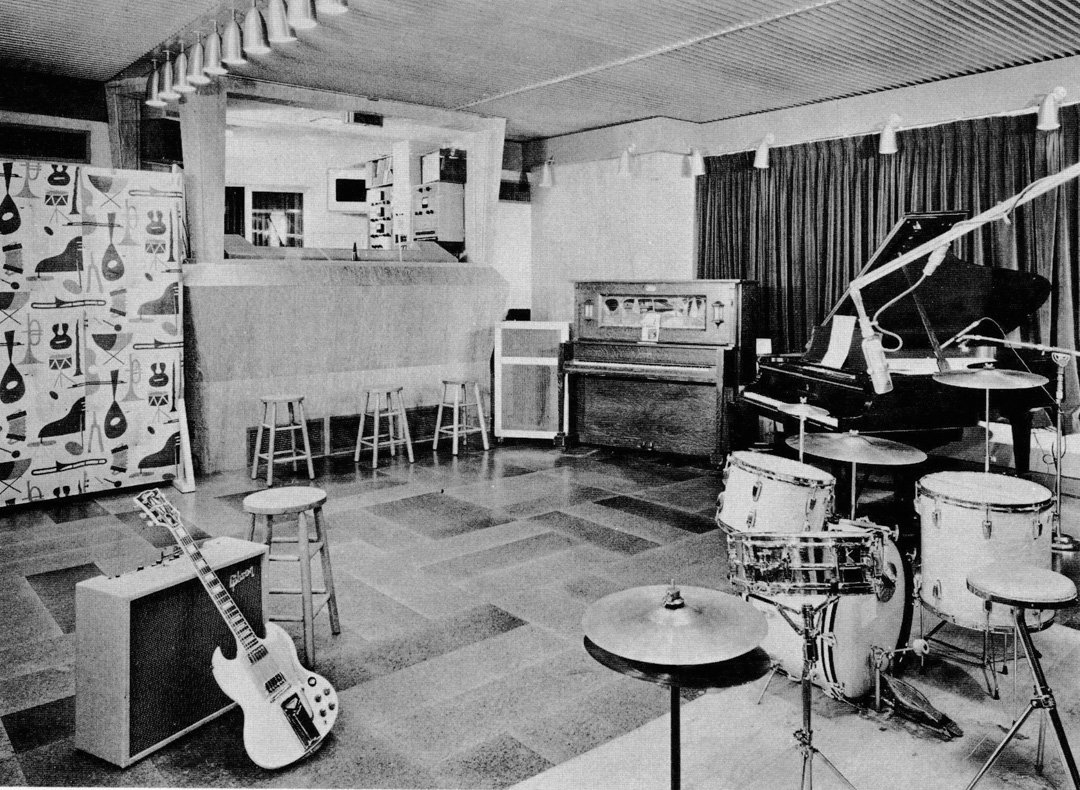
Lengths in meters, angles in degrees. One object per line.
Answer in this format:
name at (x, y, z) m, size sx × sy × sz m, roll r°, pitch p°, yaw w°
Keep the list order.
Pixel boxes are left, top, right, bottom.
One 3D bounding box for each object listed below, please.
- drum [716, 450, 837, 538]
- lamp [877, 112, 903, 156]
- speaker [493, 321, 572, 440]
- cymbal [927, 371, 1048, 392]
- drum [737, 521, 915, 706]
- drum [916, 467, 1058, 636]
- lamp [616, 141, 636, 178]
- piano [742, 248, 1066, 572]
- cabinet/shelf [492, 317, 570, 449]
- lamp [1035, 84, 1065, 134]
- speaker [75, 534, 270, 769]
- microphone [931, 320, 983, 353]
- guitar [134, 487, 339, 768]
drum at (1.195, 0.498, 4.242) m, size 0.443 × 0.277 × 0.446 m, roll 4°, pitch 2°, yaw 0°
lamp at (3.333, -2.489, 7.939) m, size 0.166 × 0.346 × 0.968 m, roll 5°, pitch 14°, yaw 22°
speaker at (-0.177, -0.191, 10.030) m, size 1.113 × 2.080 × 1.251 m, roll 1°, pitch 2°, yaw -4°
cymbal at (2.722, -0.096, 5.034) m, size 0.396 × 0.072 × 0.398 m, roll 4°, pitch 13°, yaw 31°
drum at (1.291, 0.975, 3.772) m, size 0.629 × 0.830 × 0.817 m, roll 7°, pitch 12°, yaw 39°
drum at (2.307, 0.757, 4.449) m, size 0.757 × 0.713 × 0.766 m, roll 0°, pitch 7°, yaw 5°
lamp at (1.037, -2.819, 9.920) m, size 0.197 × 0.199 × 0.548 m, roll 1°, pitch 20°, yaw 5°
piano at (3.139, -0.163, 7.244) m, size 2.587 × 2.629 × 1.840 m, roll -1°, pitch 0°, yaw -23°
cabinet/shelf at (-0.094, -0.177, 9.203) m, size 0.835 × 1.280 × 0.323 m, roll 3°, pitch 13°, yaw 13°
lamp at (4.392, -2.476, 7.176) m, size 0.189 × 0.348 × 0.500 m, roll 8°, pitch 15°, yaw 30°
speaker at (-1.657, 1.212, 3.818) m, size 0.397 × 0.957 × 0.974 m, roll 2°, pitch 5°, yaw 28°
microphone at (3.209, -0.474, 6.431) m, size 0.474 × 0.162 × 0.113 m, roll -28°, pitch -1°, yaw -18°
guitar at (-1.564, 1.046, 3.923) m, size 0.186 × 1.605 × 0.591 m, roll -31°, pitch 1°, yaw 42°
